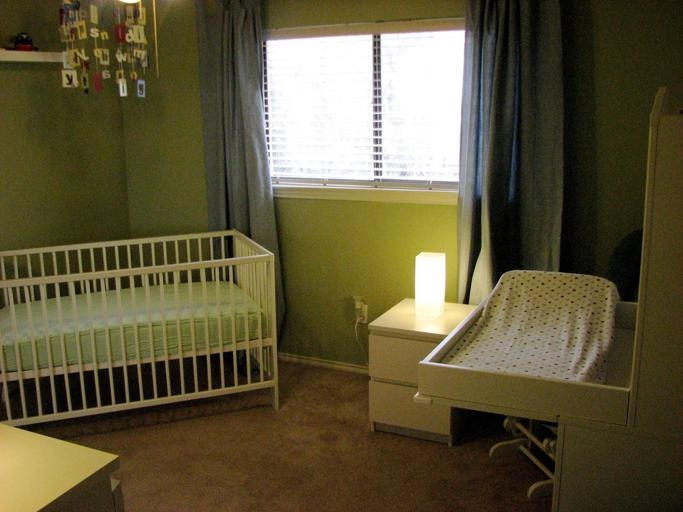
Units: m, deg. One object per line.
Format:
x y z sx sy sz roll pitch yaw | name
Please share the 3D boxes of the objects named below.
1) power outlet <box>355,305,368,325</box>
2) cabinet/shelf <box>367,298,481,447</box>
0.143 0.404 4.144 0.080 0.146 0.020 0 14 12 | power outlet
0.489 0.678 3.664 0.504 0.661 0.682 3 11 34 | cabinet/shelf
